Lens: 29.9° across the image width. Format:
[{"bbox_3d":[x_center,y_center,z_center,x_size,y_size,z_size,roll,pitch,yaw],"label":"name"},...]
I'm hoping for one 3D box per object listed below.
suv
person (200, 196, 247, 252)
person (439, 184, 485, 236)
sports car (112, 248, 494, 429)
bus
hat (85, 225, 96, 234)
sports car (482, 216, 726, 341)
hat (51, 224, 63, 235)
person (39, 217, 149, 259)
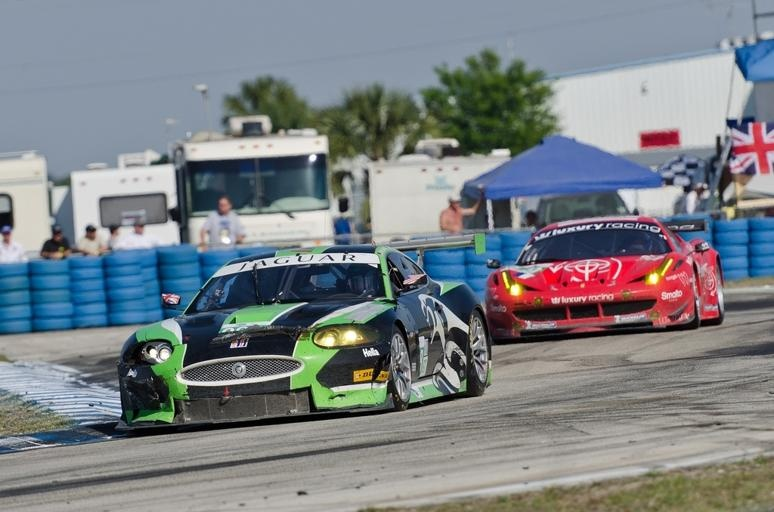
[{"bbox_3d":[4.533,-1.169,34.024,1.917,0.895,1.153,-2,2,-12],"label":"suv"},{"bbox_3d":[-3.284,-0.621,29.141,1.049,1.539,0.575,-1,-12,2],"label":"person"},{"bbox_3d":[1.620,-1.013,31.494,0.542,1.765,1.035,6,13,30],"label":"person"},{"bbox_3d":[-1.049,1.040,18.265,4.693,1.972,2.059,-6,11,-11],"label":"sports car"},{"bbox_3d":[-2.730,-1.561,30.130,2.115,2.163,3.454,-1,-2,-4],"label":"bus"},{"bbox_3d":[-5.931,-0.560,28.956,0.215,0.164,0.328,-6,11,-12],"label":"hat"},{"bbox_3d":[3.372,0.385,22.493,3.739,1.661,2.191,-4,11,-2],"label":"sports car"},{"bbox_3d":[-6.681,-0.565,29.301,0.202,0.179,0.318,-1,6,-20],"label":"hat"},{"bbox_3d":[-5.880,-0.371,29.150,2.263,0.632,0.997,-5,11,-5],"label":"person"}]
